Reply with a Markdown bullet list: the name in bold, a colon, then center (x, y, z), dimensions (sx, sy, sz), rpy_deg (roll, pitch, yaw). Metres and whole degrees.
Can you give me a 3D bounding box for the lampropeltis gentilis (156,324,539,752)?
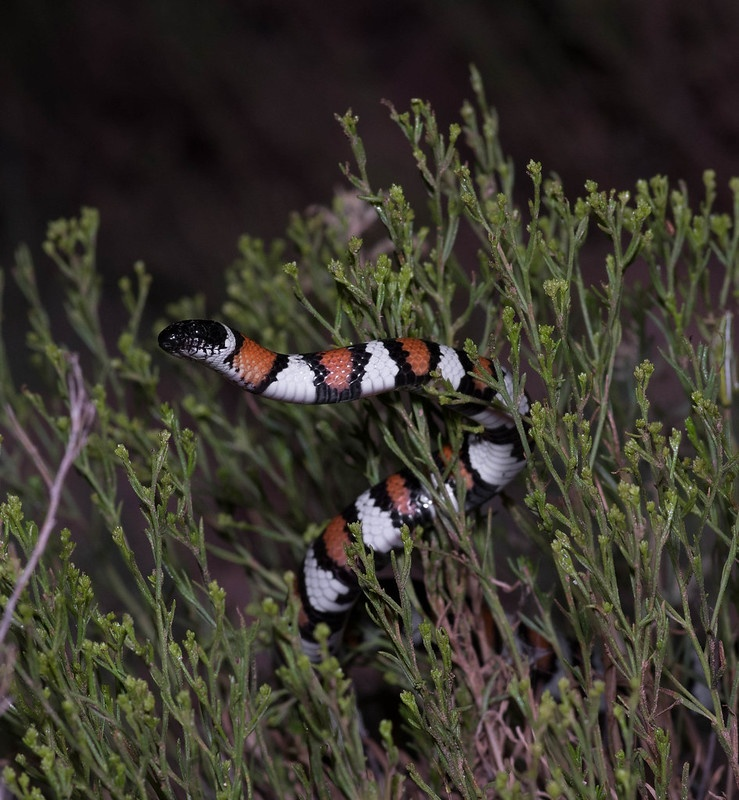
- **lampropeltis gentilis**: center (-0.031, 0.069, 1.816), dimensions (0.655, 0.777, 0.185), rpy_deg (28, 5, -1)
